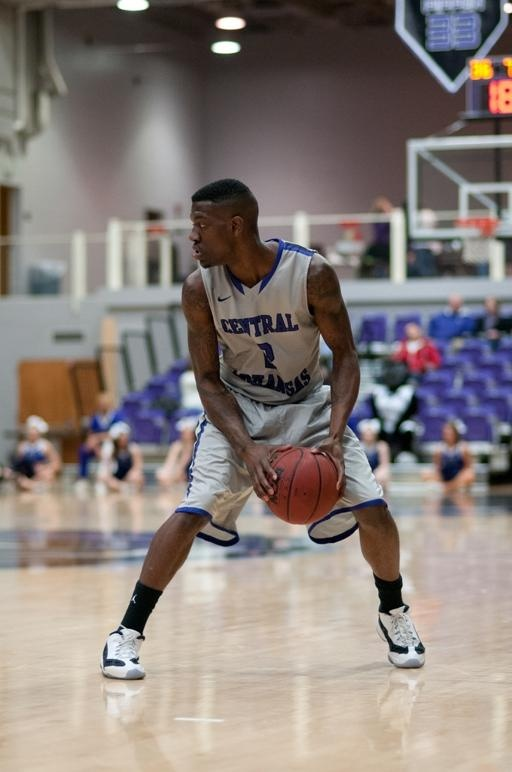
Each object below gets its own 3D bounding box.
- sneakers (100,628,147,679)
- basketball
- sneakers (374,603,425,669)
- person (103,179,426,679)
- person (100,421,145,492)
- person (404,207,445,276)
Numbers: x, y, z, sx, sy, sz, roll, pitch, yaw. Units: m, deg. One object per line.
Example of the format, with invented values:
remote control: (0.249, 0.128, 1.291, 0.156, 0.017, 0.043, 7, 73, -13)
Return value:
sneakers: (-0.350, 0.700, 2.683, 0.113, 0.121, 0.124, -2, 6, -9)
basketball: (0.130, 0.259, 2.692, 0.184, 0.194, 0.194, 1, 6, 16)
sneakers: (0.407, 0.706, 2.856, 0.081, 0.086, 0.213, -7, 9, -6)
person: (0.020, 0.106, 2.855, 0.941, 1.358, 0.488, -2, 7, -9)
person: (-1.411, 0.710, 10.543, 0.772, 0.660, 0.693, 2, 2, -4)
person: (2.102, -1.667, 12.533, 0.519, 0.639, 0.446, 2, 8, 4)
